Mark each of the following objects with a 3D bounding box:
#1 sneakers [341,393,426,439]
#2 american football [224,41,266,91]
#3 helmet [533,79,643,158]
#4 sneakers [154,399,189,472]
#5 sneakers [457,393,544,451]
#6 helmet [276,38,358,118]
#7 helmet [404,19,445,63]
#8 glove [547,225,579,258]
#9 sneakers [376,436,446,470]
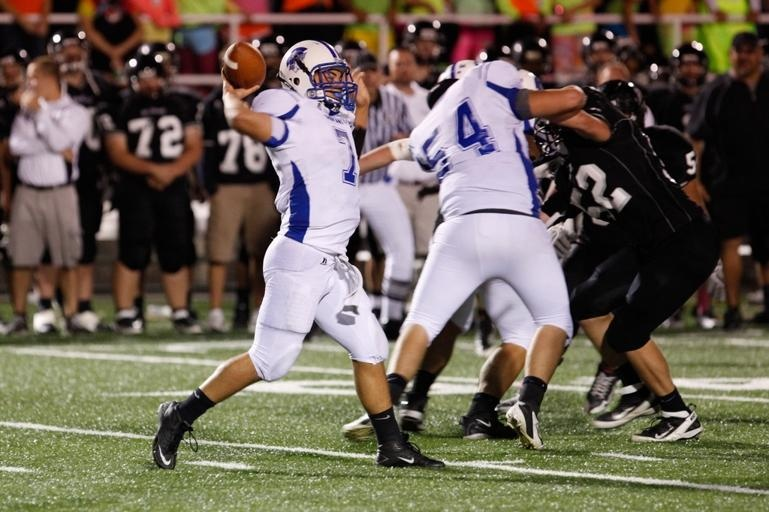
[{"bbox_3d":[0.054,0.910,5.645,0.563,0.265,0.193,2,-29,-16],"label":"sneakers"},{"bbox_3d":[-0.690,-0.933,4.958,0.187,0.247,0.148,1,-2,-3],"label":"american football"},{"bbox_3d":[1.164,-0.787,5.732,0.606,0.335,0.430,-25,-2,-9],"label":"helmet"},{"bbox_3d":[-1.062,0.875,4.988,0.175,0.371,0.136,-10,-11,38],"label":"sneakers"},{"bbox_3d":[0.630,0.903,5.487,0.584,0.249,0.192,10,-10,-36],"label":"sneakers"},{"bbox_3d":[-0.407,-0.932,5.207,0.389,0.321,0.304,2,3,-6],"label":"helmet"},{"bbox_3d":[0.419,-2.209,10.341,0.404,0.539,0.503,1,24,3],"label":"helmet"},{"bbox_3d":[1.048,-0.078,6.003,0.093,0.166,0.213,5,-35,-31],"label":"glove"},{"bbox_3d":[0.113,0.983,5.026,0.387,0.181,0.131,0,0,-2],"label":"sneakers"}]
